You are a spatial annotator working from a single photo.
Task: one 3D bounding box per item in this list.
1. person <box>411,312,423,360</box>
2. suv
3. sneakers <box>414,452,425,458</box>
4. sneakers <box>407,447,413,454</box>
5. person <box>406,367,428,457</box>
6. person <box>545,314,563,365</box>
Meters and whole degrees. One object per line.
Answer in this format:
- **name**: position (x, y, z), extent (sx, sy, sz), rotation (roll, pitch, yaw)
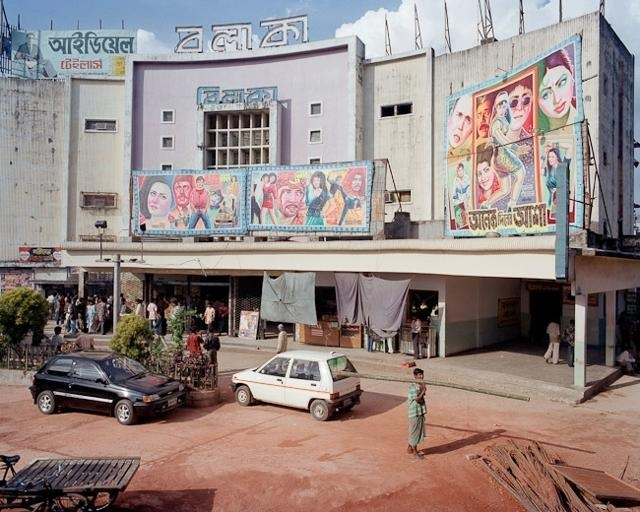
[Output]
- **person**: position (4.384, 3.836, 31.074), extent (0.494, 1.681, 0.806), rotation (0, 12, -3)
- **suv**: position (-0.562, 4.554, 24.826), extent (3.455, 2.226, 2.163), rotation (4, 0, 26)
- **sneakers**: position (3.067, 6.216, 21.339), extent (0.279, 0.124, 0.236), rotation (1, 14, 0)
- **sneakers**: position (2.805, 6.115, 21.525), extent (0.198, 0.259, 0.106), rotation (0, 1, -18)
- **person**: position (3.047, 4.961, 21.640), extent (0.551, 2.401, 1.209), rotation (2, 12, 10)
- **person**: position (10.136, 3.858, 30.175), extent (0.626, 1.846, 1.368), rotation (5, 13, 22)
